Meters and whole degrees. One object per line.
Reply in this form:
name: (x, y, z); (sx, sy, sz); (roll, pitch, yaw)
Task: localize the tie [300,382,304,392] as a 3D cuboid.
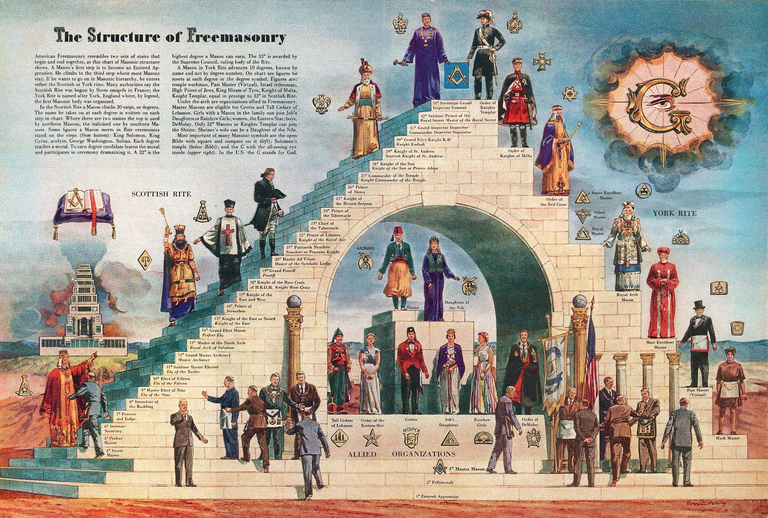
tie: (-1.921, 2.996, 49.142); (0.123, 0.226, 0.059); (2, -6, -20)

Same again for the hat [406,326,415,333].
hat: (0.614, 1.694, 49.943); (0.180, 0.186, 0.279); (0, -5, -1)

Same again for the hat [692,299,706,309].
hat: (7.518, 1.114, 50.390); (0.236, 0.163, 0.240); (-1, -14, 3)

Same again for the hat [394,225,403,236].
hat: (0.333, -0.643, 50.666); (0.220, 0.241, 0.278); (0, -5, -1)
